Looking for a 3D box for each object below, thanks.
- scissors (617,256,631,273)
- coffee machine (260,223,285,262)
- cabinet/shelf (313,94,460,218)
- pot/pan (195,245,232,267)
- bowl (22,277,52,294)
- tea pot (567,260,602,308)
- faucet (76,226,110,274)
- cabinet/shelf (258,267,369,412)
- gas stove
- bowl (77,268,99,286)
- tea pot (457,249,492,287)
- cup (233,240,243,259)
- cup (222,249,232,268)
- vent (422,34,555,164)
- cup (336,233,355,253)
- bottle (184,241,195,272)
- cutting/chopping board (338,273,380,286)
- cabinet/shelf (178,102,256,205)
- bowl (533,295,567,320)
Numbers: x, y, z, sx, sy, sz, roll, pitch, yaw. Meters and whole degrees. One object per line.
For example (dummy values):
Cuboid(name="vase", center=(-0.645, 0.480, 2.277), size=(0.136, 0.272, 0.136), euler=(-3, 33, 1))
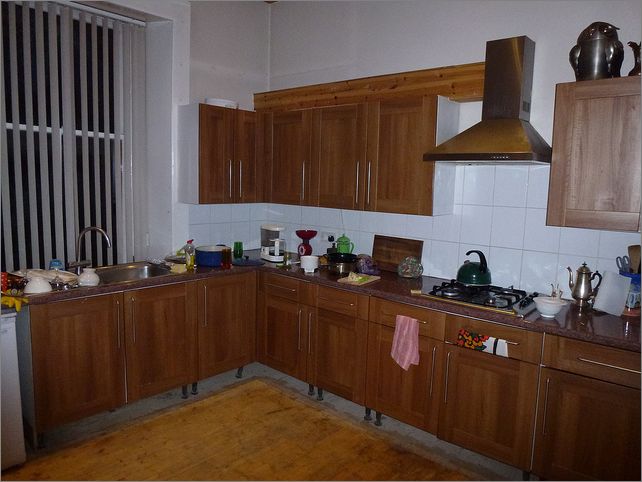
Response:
Cuboid(name="scissors", center=(2.078, 0.165, 3.298), size=(0.012, 0.144, 0.112), euler=(-1, 1, -25))
Cuboid(name="coffee machine", center=(-0.525, 0.041, 4.557), size=(0.214, 0.364, 0.361), euler=(-2, 5, -30))
Cuboid(name="cabinet/shelf", center=(0.473, -0.678, 4.137), size=(1.151, 0.923, 0.442), euler=(6, 8, 32))
Cuboid(name="pot/pan", center=(-0.984, 0.149, 4.343), size=(0.173, 0.117, 0.286), euler=(-1, 0, 43))
Cuboid(name="bowl", center=(-1.987, 0.309, 3.351), size=(0.117, 0.086, 0.118), euler=(0, -3, 0))
Cuboid(name="tea pot", center=(1.880, 0.314, 3.431), size=(0.206, 0.303, 0.209), euler=(-2, 6, 0))
Cuboid(name="faucet", center=(-1.854, 0.033, 3.874), size=(0.265, 0.311, 0.531), euler=(-5, 7, -26))
Cuboid(name="cabinet/shelf", center=(-0.036, 0.832, 4.048), size=(1.069, 0.816, 0.414), euler=(7, 7, 37))
Cuboid(name="gas stove", center=(1.169, 0.410, 3.473), size=(0.388, 0.060, 0.351), euler=(10, 12, 41))
Cuboid(name="bowl", center=(-1.727, 0.273, 3.566), size=(0.119, 0.111, 0.121), euler=(3, 1, 0))
Cuboid(name="tea pot", center=(1.108, 0.223, 3.633), size=(0.214, 0.254, 0.287), euler=(0, 0, -13))
Cuboid(name="cup", center=(-0.794, 0.096, 4.570), size=(0.080, 0.157, 0.089), euler=(-3, 7, -15))
Cuboid(name="cup", center=(-0.831, 0.160, 4.294), size=(0.070, 0.176, 0.120), euler=(3, 8, 33))
Cuboid(name="vent", center=(1.241, -0.925, 3.679), size=(0.923, 1.117, 0.867), euler=(5, 6, 43))
Cuboid(name="cup", center=(0.213, 0.049, 4.404), size=(0.195, 0.199, 0.113), euler=(6, -8, -42))
Cuboid(name="bottle", center=(-1.178, 0.127, 4.297), size=(0.092, 0.239, 0.476), euler=(-3, 7, -16))
Cuboid(name="cutting/chopping board", center=(0.317, 0.311, 3.896), size=(0.383, 0.069, 0.236), euler=(-3, 6, -9))
Cuboid(name="cabinet/shelf", center=(-0.935, -0.783, 4.540), size=(0.415, 0.898, 0.699), euler=(10, 12, 43))
Cuboid(name="bowl", center=(1.548, 0.439, 3.220), size=(0.162, 0.080, 0.147), euler=(-1, 7, -36))
